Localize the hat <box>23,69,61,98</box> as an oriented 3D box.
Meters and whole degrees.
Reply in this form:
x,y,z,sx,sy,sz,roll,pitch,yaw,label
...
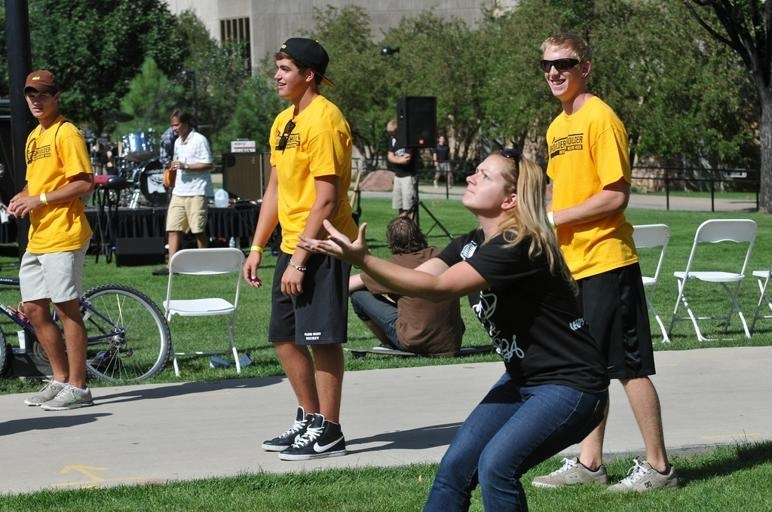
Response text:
x,y,z,sx,sy,sz,roll,pitch,yaw,label
-3.147,-1.594,9.981,0.213,0.171,0.312,1,-1,13,hat

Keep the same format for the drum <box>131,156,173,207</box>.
x,y,z,sx,sy,sz,roll,pitch,yaw,label
-4.202,-1.418,20.834,0.933,0.941,0.556,2,1,30,drum

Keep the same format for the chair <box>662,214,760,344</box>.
x,y,z,sx,sy,sz,roll,pitch,yaw,label
3.765,0.246,12.467,0.757,1.246,0.932,7,10,42,chair

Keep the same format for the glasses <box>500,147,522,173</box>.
x,y,z,sx,sy,sz,roll,pitch,yaw,label
0.894,-0.672,7.512,0.174,0.183,0.058,2,5,30,glasses

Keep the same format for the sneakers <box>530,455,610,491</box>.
x,y,z,sx,sy,sz,roll,pitch,yaw,label
1.445,1.726,8.588,0.677,0.266,0.225,0,-5,-5,sneakers

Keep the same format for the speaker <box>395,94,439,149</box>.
x,y,z,sx,sy,sz,roll,pitch,yaw,label
0.552,-2.386,19.446,0.698,0.942,0.644,0,12,-1,speaker

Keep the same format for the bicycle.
x,y,z,sx,sy,sz,roll,pitch,yaw,label
-3.270,0.790,11.121,1.995,1.155,0.970,6,-12,-18,bicycle

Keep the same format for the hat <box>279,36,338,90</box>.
x,y,z,sx,sy,sz,roll,pitch,yaw,label
-0.577,-1.664,9.038,0.535,0.311,0.347,28,-4,-25,hat

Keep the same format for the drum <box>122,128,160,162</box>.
x,y,z,sx,sy,sz,roll,pitch,yaw,label
-5.121,-2.334,22.484,0.815,0.580,0.838,-2,-8,0,drum

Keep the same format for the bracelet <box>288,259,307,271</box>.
x,y,z,sx,sy,sz,roll,pitch,yaw,label
-0.705,0.057,8.715,0.095,0.039,0.104,27,0,-32,bracelet

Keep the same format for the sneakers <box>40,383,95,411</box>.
x,y,z,sx,sy,sz,roll,pitch,yaw,label
-2.899,1.301,9.890,0.451,0.199,0.179,0,-1,-22,sneakers

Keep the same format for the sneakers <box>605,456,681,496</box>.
x,y,z,sx,sy,sz,roll,pitch,yaw,label
2.006,1.736,8.488,0.648,0.276,0.219,-2,-6,-4,sneakers

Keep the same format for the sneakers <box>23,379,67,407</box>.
x,y,z,sx,sy,sz,roll,pitch,yaw,label
-3.102,1.259,10.005,0.487,0.192,0.160,-3,5,-19,sneakers

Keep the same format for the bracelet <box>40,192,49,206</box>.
x,y,z,sx,sy,sz,roll,pitch,yaw,label
-3.083,-0.526,9.779,0.069,0.095,0.094,1,0,-22,bracelet

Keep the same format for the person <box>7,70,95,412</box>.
x,y,z,sx,sy,sz,roll,pitch,yaw,label
-3.055,-0.168,9.996,0.747,3.034,0.915,-4,13,-16,person
